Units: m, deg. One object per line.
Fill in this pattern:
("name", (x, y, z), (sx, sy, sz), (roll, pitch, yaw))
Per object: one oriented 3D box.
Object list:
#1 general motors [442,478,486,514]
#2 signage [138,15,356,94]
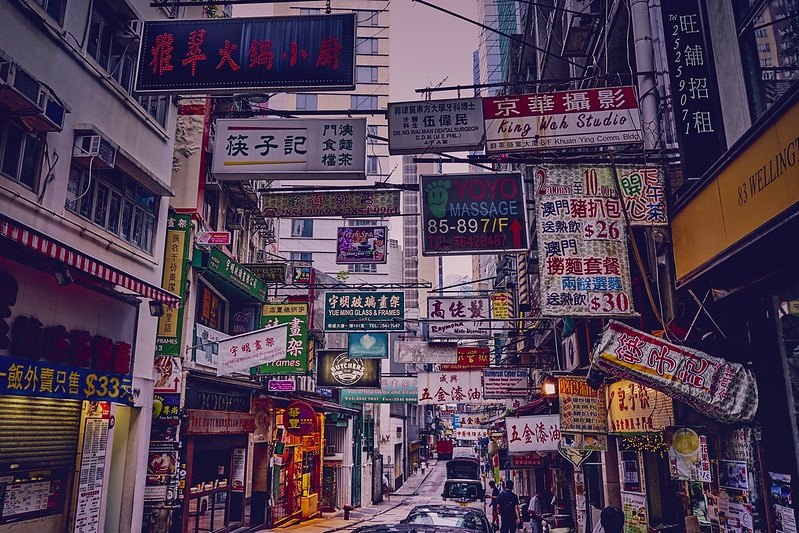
("general motors", (2.737, 10.051, 30.170), (1.841, 2.651, 1.469), (0, 78, 5))
("signage", (-3.604, -4.858, 16.779), (5.136, 0.197, 2.103), (0, 73, 4))
